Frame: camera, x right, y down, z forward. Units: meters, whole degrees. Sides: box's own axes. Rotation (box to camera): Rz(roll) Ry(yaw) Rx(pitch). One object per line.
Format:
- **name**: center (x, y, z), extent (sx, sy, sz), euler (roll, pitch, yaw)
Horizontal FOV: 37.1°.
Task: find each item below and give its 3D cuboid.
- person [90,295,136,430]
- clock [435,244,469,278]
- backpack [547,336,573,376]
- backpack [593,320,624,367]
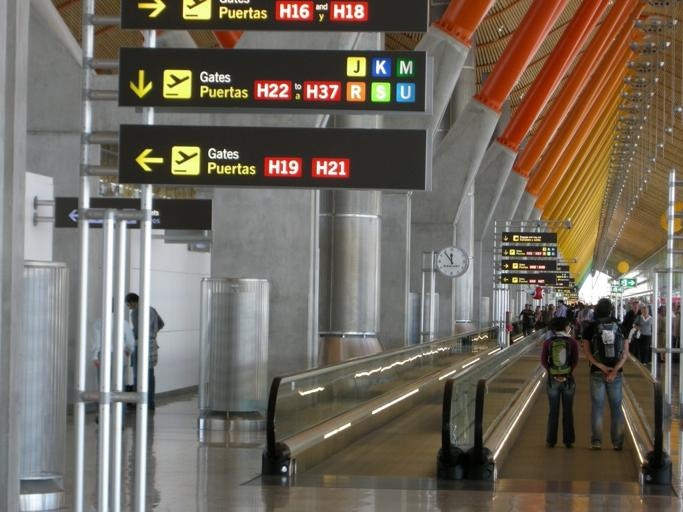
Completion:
- **person**: center (-3.440, 1.397, 15.508), extent (0.593, 0.363, 1.980), euler (9, -47, -5)
- **clock**: center (2.749, 0.135, 25.453), extent (0.797, 0.758, 0.574), euler (-2, -6, 10)
- **backpack**: center (3.192, 1.473, 15.002), extent (0.433, 0.654, 0.385), euler (-5, 9, -19)
- **backpack**: center (3.684, 1.168, 14.120), extent (0.422, 0.618, 0.416), euler (-4, 6, 19)
